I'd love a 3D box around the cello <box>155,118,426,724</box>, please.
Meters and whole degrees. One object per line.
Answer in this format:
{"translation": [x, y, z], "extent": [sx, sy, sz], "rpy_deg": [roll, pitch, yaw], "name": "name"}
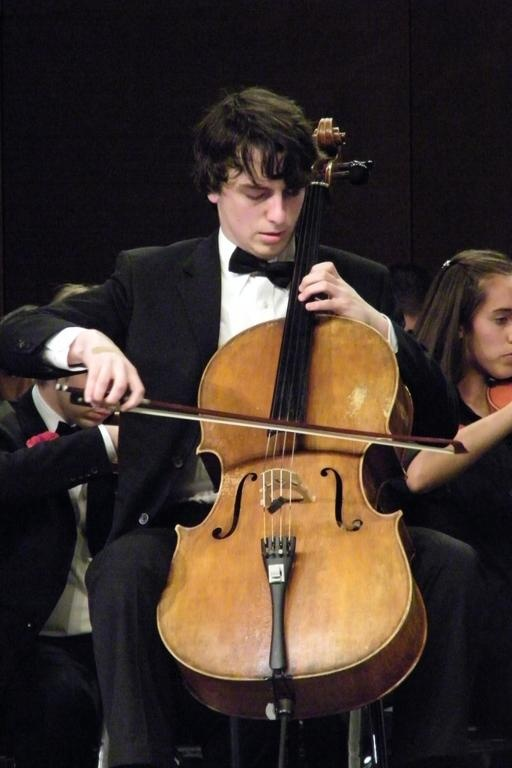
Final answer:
{"translation": [0.090, 0.021, 1.274], "extent": [0.411, 0.747, 0.428], "rpy_deg": [21, 20, 36], "name": "cello"}
